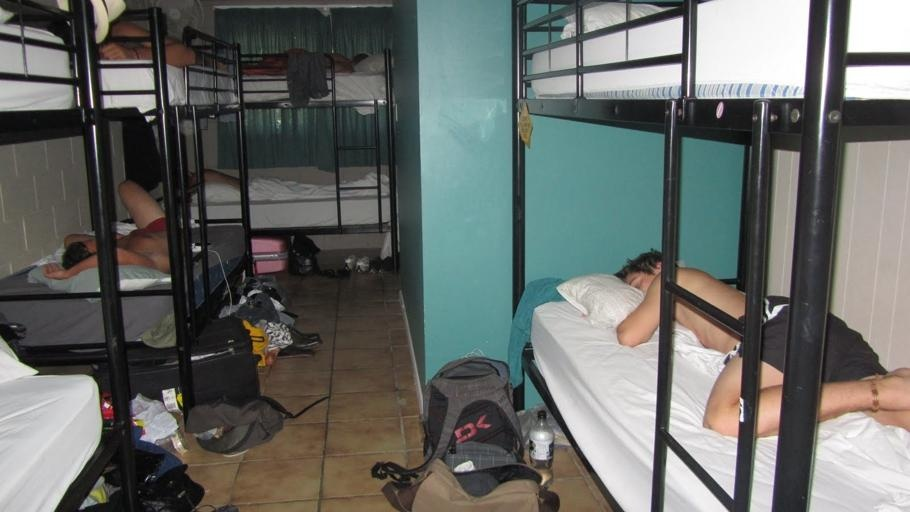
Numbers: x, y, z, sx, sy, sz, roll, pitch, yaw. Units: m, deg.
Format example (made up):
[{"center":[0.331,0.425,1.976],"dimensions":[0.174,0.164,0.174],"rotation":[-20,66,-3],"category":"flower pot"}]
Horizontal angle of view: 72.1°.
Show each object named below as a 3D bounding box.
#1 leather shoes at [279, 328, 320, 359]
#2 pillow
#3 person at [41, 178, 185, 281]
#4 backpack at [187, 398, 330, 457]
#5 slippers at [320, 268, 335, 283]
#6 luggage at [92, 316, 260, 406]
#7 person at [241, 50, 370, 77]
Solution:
[{"center":[-1.301,0.756,5.277],"dimensions":[0.261,0.084,0.179],"rotation":[-4,27,-17],"category":"leather shoes"},{"center":[0.863,0.243,3.749],"dimensions":[0.359,0.091,0.346],"rotation":[-17,42,-34],"category":"pillow"},{"center":[-2.538,-0.138,4.913],"dimensions":[0.475,0.799,0.617],"rotation":[-1,59,17],"category":"person"},{"center":[-1.396,1.090,4.178],"dimensions":[0.353,0.171,0.464],"rotation":[4,16,24],"category":"backpack"},{"center":[-1.448,0.222,7.044],"dimensions":[0.121,0.060,0.159],"rotation":[0,15,-4],"category":"slippers"},{"center":[-1.836,0.759,4.339],"dimensions":[0.663,0.253,0.639],"rotation":[-3,10,-19],"category":"luggage"},{"center":[-1.651,-2.099,6.808],"dimensions":[0.706,0.166,0.767],"rotation":[9,15,44],"category":"person"}]
